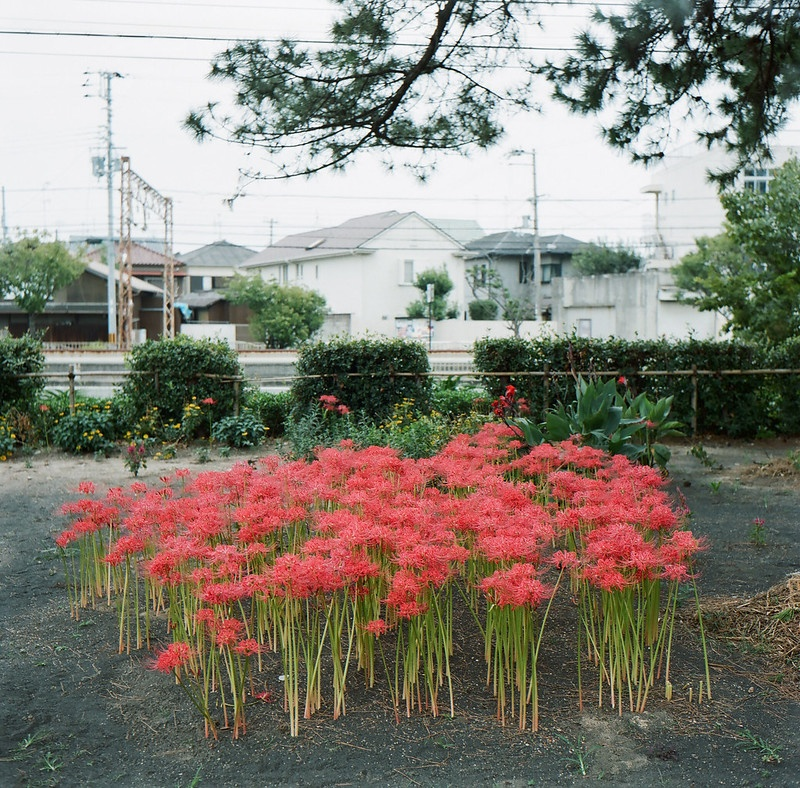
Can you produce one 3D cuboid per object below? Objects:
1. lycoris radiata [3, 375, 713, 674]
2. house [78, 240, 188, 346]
[{"bbox_3d":[-0.018,0.930,7.603,3.647,1.048,2.731,-1,17,-2],"label":"lycoris radiata"},{"bbox_3d":[-8.632,-3.123,38.522,2.612,5.037,3.965,-4,10,-14],"label":"house"}]
